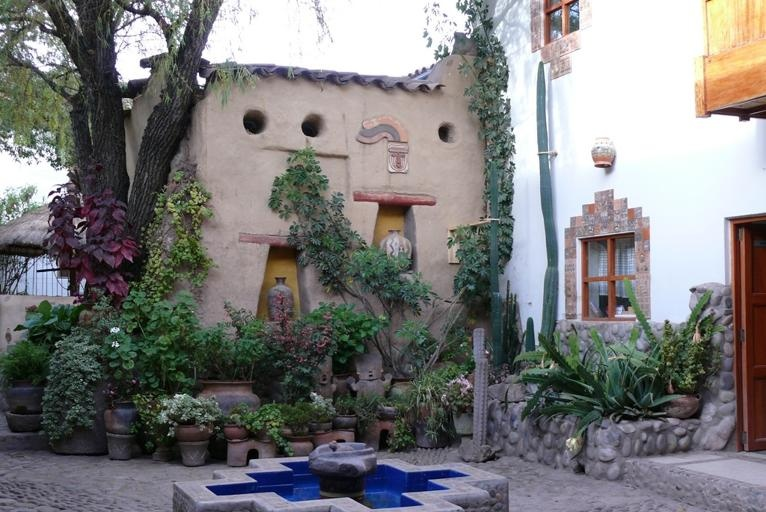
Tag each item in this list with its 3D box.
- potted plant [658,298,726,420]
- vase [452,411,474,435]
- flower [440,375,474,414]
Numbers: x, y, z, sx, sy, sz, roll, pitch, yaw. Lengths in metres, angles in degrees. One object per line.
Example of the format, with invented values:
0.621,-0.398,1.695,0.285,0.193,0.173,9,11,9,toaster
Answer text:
3.860,1.231,8.893,0.732,1.610,0.252,0,2,-12,potted plant
1.169,2.426,10.335,0.304,0.387,0.306,1,-4,-6,vase
1.086,1.984,10.397,0.459,0.464,0.450,-3,6,-27,flower
